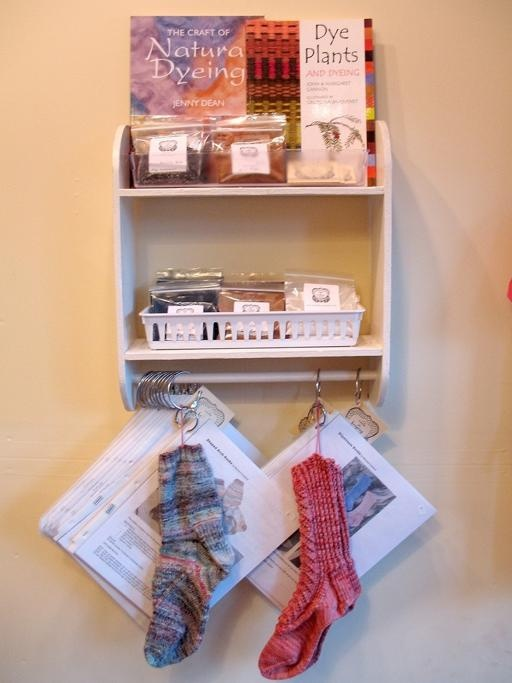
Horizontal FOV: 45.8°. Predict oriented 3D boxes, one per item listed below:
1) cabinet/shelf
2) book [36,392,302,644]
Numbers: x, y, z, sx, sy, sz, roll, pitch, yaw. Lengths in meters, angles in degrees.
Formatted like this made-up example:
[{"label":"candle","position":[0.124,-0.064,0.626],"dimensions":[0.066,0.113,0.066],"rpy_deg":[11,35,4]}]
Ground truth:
[{"label":"cabinet/shelf","position":[-0.008,-0.140,0.988],"dimensions":[0.490,0.490,0.163],"rpy_deg":[-1,4,-4]},{"label":"book","position":[-0.152,0.287,1.028],"dimensions":[0.431,0.389,0.121],"rpy_deg":[-7,16,-4]}]
